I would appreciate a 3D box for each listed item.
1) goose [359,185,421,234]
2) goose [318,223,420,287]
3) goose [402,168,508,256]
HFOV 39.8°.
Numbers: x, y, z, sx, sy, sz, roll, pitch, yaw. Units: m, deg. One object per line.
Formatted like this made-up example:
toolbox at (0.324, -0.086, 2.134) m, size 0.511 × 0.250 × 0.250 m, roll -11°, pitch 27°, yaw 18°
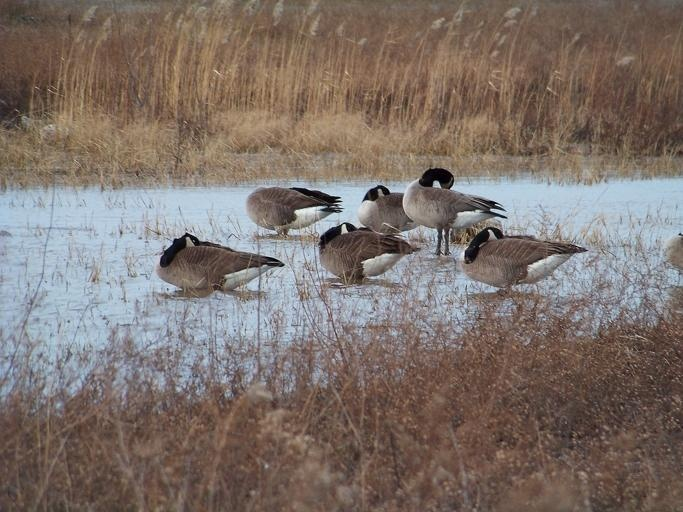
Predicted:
goose at (0.545, -0.592, 11.797) m, size 0.417 × 0.553 × 0.689 m, roll 2°, pitch -2°, yaw 19°
goose at (0.165, 0.008, 10.424) m, size 0.473 × 0.913 × 1.357 m, roll -8°, pitch 2°, yaw -43°
goose at (1.380, -0.533, 11.487) m, size 1.235 × 1.174 × 0.684 m, roll -1°, pitch -11°, yaw 22°
